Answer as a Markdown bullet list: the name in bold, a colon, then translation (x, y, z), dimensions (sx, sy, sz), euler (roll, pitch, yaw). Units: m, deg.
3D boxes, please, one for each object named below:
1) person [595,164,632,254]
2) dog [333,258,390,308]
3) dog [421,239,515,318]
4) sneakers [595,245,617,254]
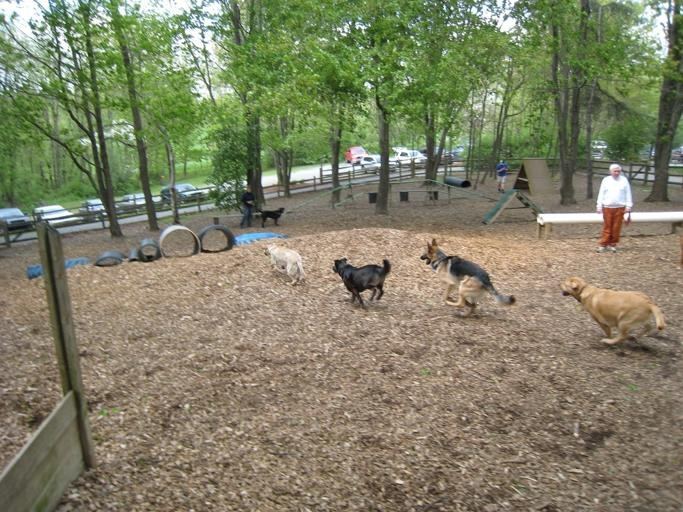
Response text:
- **person**: translation (6.785, -1.202, 13.022), dimensions (0.755, 2.137, 0.997), euler (2, 17, 24)
- **dog**: translation (0.404, 0.463, 9.926), dimensions (0.543, 0.858, 1.555), euler (-10, 11, -40)
- **dog**: translation (2.267, 0.470, 9.358), dimensions (0.615, 0.997, 2.137), euler (-10, 20, -37)
- **sneakers**: translation (6.605, -0.147, 13.018), dimensions (0.574, 0.195, 0.169), euler (6, 12, 18)
